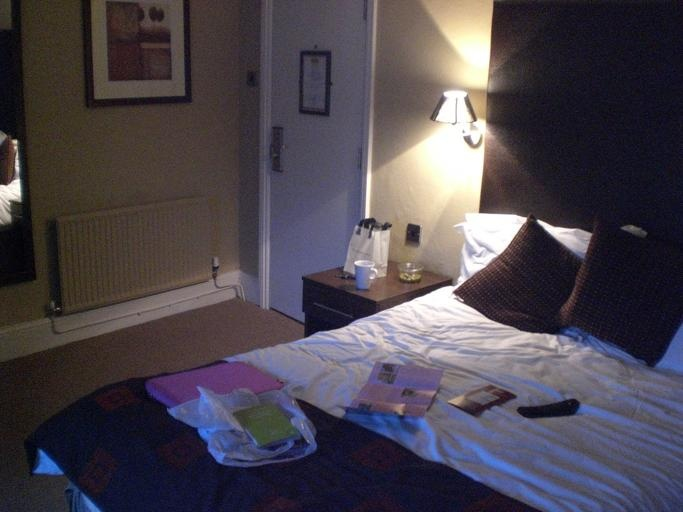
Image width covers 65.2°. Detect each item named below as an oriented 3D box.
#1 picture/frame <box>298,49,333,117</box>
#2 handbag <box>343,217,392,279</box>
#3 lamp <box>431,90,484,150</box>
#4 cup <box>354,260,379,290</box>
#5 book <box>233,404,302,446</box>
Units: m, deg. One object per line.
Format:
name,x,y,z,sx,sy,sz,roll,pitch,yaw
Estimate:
picture/frame,-0.182,-1.244,3.832,0.396,0.511,0.044,15,21,32
handbag,0.175,-0.044,3.389,0.309,0.450,0.161,18,12,41
lamp,0.656,-0.800,3.145,0.260,0.347,0.345,17,28,32
cup,0.135,0.113,3.225,0.112,0.156,0.167,-14,19,-38
book,-0.263,0.592,1.863,0.169,0.050,0.216,-8,22,-31
